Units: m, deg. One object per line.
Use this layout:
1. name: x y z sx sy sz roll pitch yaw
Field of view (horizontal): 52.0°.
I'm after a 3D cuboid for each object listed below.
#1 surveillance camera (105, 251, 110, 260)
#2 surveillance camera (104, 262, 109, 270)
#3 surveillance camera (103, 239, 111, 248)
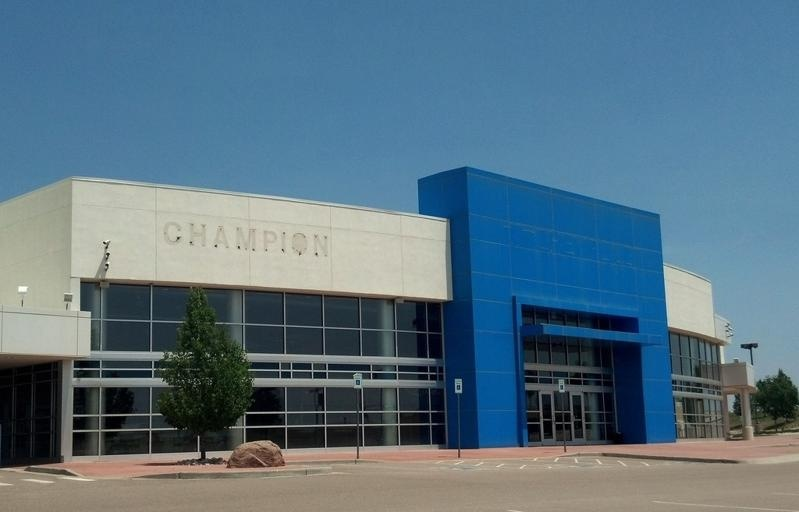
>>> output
1. surveillance camera: -14.438 -0.023 40.649 0.268 0.491 0.267 2 -3 -13
2. surveillance camera: -14.475 0.509 40.560 0.224 0.425 0.109 13 -23 -42
3. surveillance camera: -14.524 -0.617 40.666 0.352 0.446 0.384 -5 -2 18
